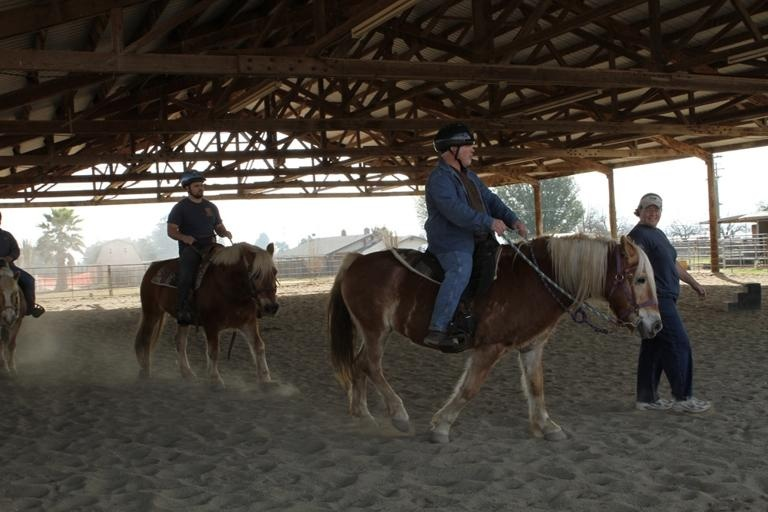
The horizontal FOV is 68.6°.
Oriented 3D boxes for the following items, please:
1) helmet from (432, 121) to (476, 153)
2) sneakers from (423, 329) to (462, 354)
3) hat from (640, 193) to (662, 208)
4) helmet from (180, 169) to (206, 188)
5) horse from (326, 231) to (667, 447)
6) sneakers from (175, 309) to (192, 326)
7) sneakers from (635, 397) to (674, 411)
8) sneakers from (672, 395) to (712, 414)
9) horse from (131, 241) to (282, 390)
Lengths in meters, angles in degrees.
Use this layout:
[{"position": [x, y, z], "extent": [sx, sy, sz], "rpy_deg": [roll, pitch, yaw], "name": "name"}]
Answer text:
[{"position": [0.758, -1.282, 6.206], "extent": [0.375, 0.324, 0.306], "rpy_deg": [-18, 14, 8], "name": "helmet"}, {"position": [0.597, 0.902, 5.921], "extent": [0.414, 0.184, 0.208], "rpy_deg": [10, 1, -19], "name": "sneakers"}, {"position": [3.069, -0.641, 6.544], "extent": [0.207, 0.168, 0.089], "rpy_deg": [-1, 4, 11], "name": "hat"}, {"position": [-2.868, -1.153, 8.420], "extent": [0.281, 0.257, 0.467], "rpy_deg": [-4, 5, -21], "name": "helmet"}, {"position": [1.069, 0.834, 6.222], "extent": [3.489, 2.242, 0.831], "rpy_deg": [-1, 4, 5], "name": "horse"}, {"position": [-2.902, 0.911, 8.211], "extent": [0.178, 0.222, 0.104], "rpy_deg": [9, 20, -5], "name": "sneakers"}, {"position": [3.192, 1.754, 6.752], "extent": [0.450, 0.178, 0.149], "rpy_deg": [-4, -2, 5], "name": "sneakers"}, {"position": [3.599, 1.741, 6.619], "extent": [0.404, 0.166, 0.189], "rpy_deg": [-4, 5, 4], "name": "sneakers"}, {"position": [-2.731, 0.903, 8.629], "extent": [3.394, 2.086, 0.899], "rpy_deg": [-4, -7, 37], "name": "horse"}]
